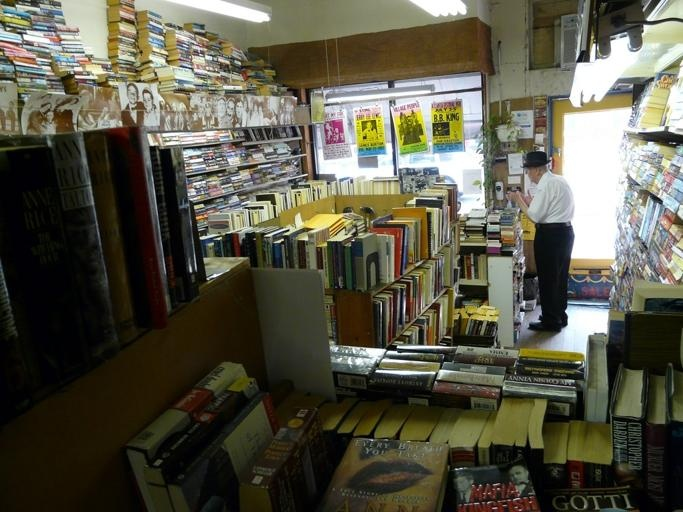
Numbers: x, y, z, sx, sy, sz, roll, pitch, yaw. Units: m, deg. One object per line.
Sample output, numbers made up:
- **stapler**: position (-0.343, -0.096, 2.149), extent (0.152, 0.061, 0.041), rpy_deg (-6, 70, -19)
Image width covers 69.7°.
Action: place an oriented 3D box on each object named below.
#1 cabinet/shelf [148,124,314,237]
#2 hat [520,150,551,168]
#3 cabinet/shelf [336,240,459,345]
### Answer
- **cabinet/shelf**: position (-1.408, -1.309, 7.108), extent (0.358, 0.794, 2.224), rpy_deg (-2, 16, 44)
- **hat**: position (2.315, -1.147, 5.835), extent (0.263, 0.129, 0.327), rpy_deg (3, 13, 29)
- **cabinet/shelf**: position (0.419, 0.284, 3.861), extent (0.196, 0.506, 0.897), rpy_deg (5, 14, 27)
